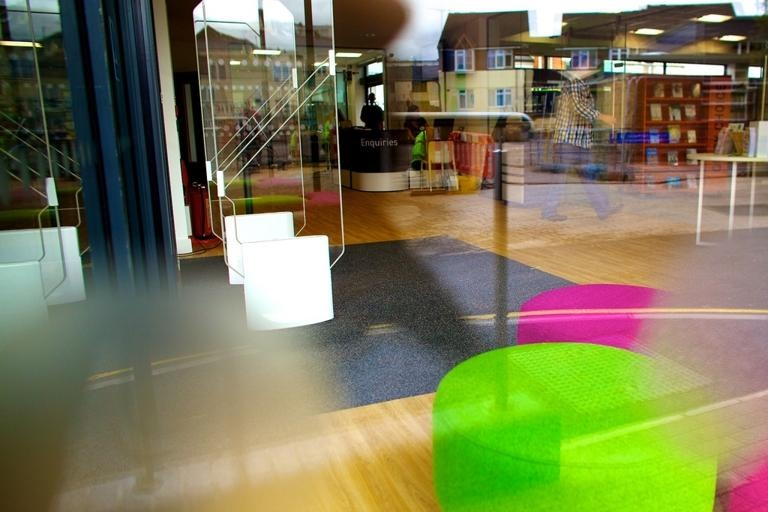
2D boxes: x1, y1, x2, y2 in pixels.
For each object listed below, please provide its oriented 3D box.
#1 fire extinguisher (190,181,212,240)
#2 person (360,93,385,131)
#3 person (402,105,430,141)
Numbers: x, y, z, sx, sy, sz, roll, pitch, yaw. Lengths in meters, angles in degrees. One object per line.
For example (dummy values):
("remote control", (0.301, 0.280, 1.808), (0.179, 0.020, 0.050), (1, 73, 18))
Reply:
("fire extinguisher", (-2.096, -0.535, 5.945), (0.220, 0.649, 0.307), (1, 15, 18))
("person", (-0.231, -2.933, 10.228), (0.421, 0.718, 1.059), (-4, 14, -1))
("person", (0.634, -2.747, 10.176), (0.492, 0.694, 1.458), (-2, 13, 3))
